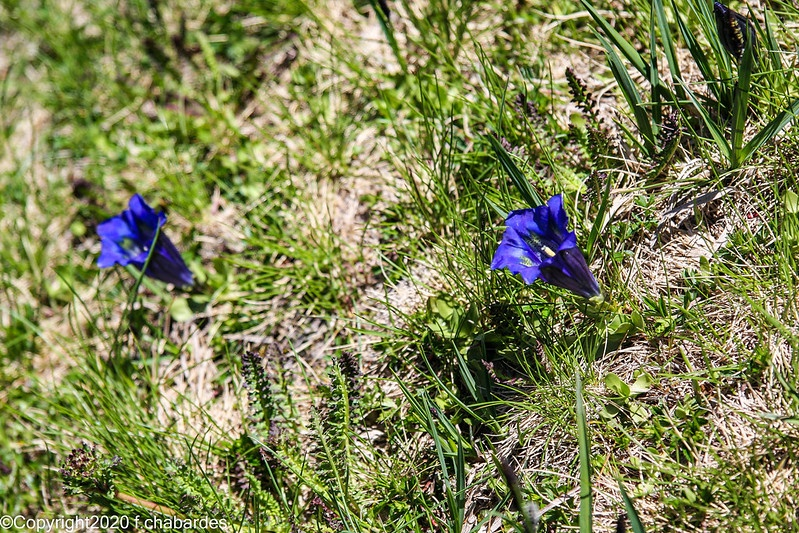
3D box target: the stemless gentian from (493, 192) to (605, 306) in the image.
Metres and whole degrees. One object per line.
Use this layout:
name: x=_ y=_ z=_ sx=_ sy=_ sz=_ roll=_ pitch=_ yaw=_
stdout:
stemless gentian: x=0.685 y=-0.004 z=3.334 sx=0.260 sy=0.512 sz=0.353 roll=-10 pitch=37 yaw=46
